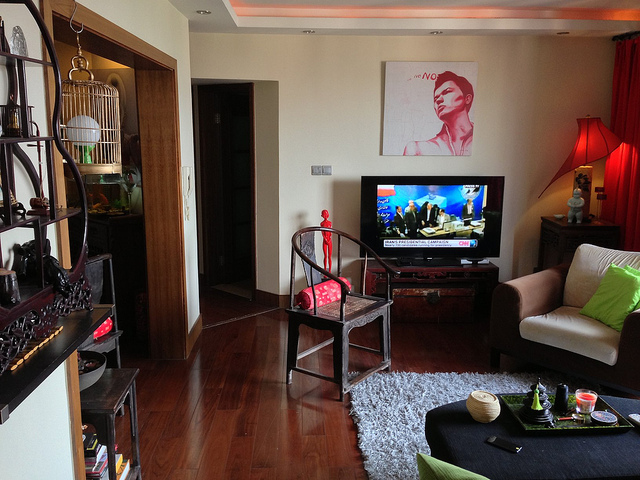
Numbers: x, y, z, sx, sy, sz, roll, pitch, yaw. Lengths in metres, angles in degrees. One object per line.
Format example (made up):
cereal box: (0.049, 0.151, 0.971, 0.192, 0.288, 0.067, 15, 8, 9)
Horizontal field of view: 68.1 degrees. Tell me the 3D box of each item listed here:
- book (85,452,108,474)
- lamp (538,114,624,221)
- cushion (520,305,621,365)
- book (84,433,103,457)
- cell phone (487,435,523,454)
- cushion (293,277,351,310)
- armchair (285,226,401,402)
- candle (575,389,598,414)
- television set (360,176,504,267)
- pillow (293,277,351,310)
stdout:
book: (-1.078, 1.070, 2.264, 0.107, 0.028, 0.113, 6, 5, -6)
lamp: (2.571, -0.638, 4.839, 0.525, 1.159, 0.635, -2, 8, -13)
cushion: (1.889, 0.701, 3.574, 0.660, 0.180, 0.390, 11, 18, 39)
book: (-1.089, 0.997, 2.268, 0.087, 0.033, 0.083, 26, 21, -14)
cell phone: (0.931, 1.039, 2.398, 0.182, 0.021, 0.091, 12, 9, 42)
cushion: (0.017, 0.444, 3.786, 0.150, 0.176, 0.549, -11, -2, 38)
armchair: (0.158, 0.537, 3.708, 0.730, 1.204, 0.645, -10, 14, -41)
candle: (1.486, 0.893, 2.653, 0.108, 0.100, 0.105, 3, 2, 22)
television set: (1.122, -0.216, 4.843, 1.064, 0.754, 0.081, 0, 9, -2)
pillow: (0.010, 0.438, 3.778, 0.172, 0.193, 0.649, 34, 27, 29)
